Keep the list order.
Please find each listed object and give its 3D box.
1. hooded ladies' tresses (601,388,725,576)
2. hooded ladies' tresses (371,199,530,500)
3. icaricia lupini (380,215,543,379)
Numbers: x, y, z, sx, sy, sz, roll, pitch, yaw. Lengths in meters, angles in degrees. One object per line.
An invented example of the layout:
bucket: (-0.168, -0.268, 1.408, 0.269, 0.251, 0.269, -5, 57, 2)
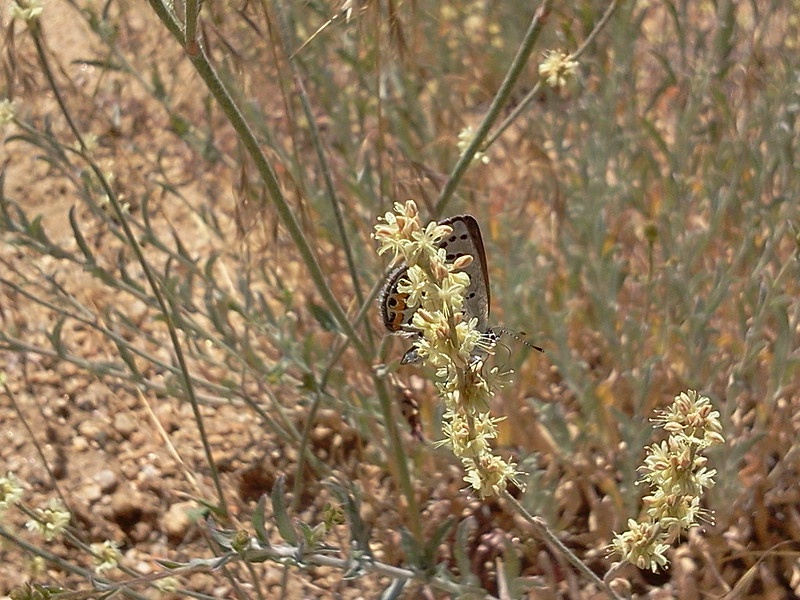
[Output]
hooded ladies' tresses: (0.588, 0.448, 2.140, 0.320, 0.298, 0.616, -11, -7, 16)
hooded ladies' tresses: (0.083, 0.117, 1.896, 0.234, 0.600, 0.424, -9, -6, 6)
icaricia lupini: (0.110, -0.033, 2.020, 0.221, 0.391, 0.287, -13, 25, -42)
